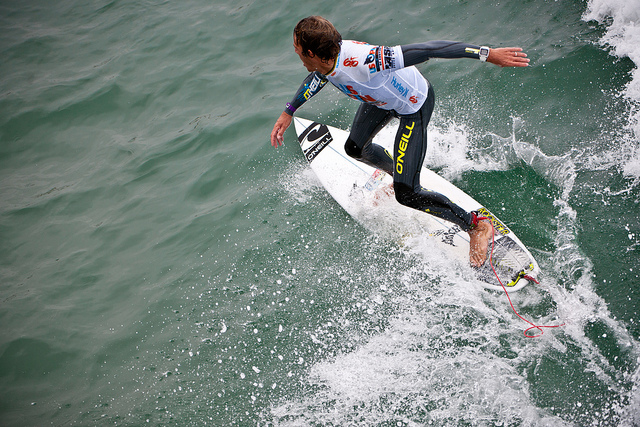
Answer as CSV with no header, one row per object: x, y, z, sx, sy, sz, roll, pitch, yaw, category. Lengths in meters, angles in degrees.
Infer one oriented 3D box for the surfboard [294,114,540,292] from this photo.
1.496,0.033,11.999,5.592,0.460,1.688,33,67,23,surfboard
